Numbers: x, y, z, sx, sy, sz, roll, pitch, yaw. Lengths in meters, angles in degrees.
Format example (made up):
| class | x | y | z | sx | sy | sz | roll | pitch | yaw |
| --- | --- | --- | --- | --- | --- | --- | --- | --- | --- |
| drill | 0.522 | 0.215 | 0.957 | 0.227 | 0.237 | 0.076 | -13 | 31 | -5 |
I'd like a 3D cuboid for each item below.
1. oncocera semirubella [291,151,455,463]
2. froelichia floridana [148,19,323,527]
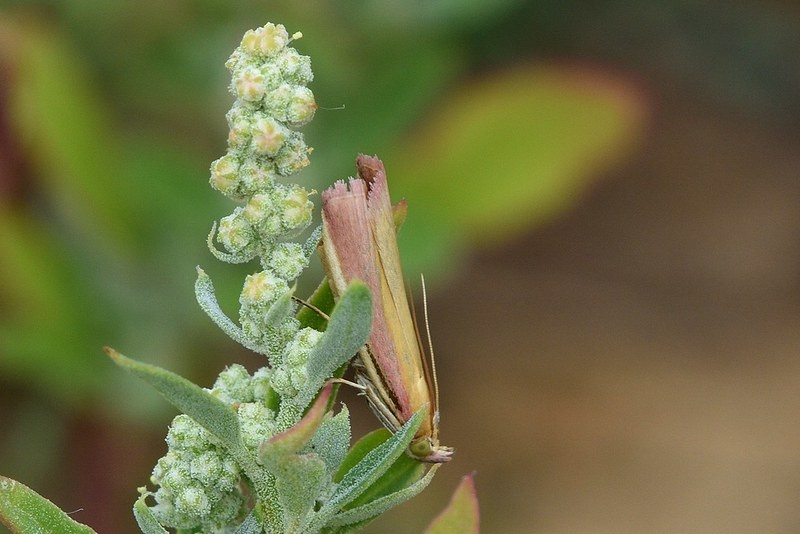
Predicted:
| class | x | y | z | sx | sy | sz | roll | pitch | yaw |
| --- | --- | --- | --- | --- | --- | --- | --- | --- | --- |
| oncocera semirubella | -0.033 | 0.081 | 1.566 | 0.112 | 0.451 | 0.312 | -10 | 0 | 30 |
| froelichia floridana | -0.251 | 0.030 | 1.566 | 0.215 | 0.748 | 0.358 | 6 | -15 | -23 |
